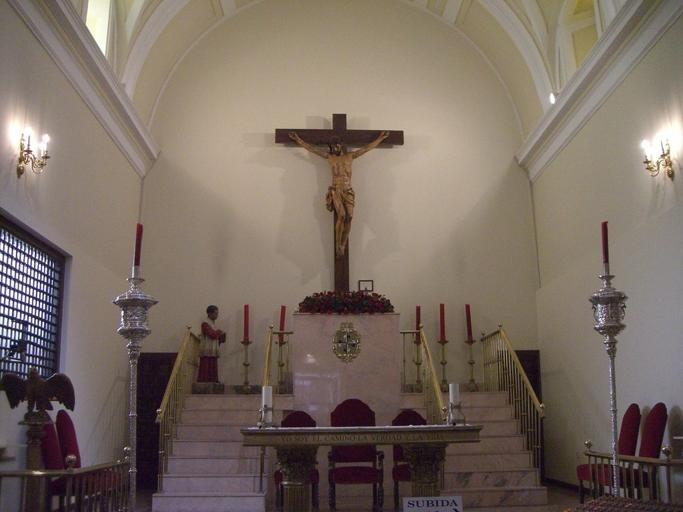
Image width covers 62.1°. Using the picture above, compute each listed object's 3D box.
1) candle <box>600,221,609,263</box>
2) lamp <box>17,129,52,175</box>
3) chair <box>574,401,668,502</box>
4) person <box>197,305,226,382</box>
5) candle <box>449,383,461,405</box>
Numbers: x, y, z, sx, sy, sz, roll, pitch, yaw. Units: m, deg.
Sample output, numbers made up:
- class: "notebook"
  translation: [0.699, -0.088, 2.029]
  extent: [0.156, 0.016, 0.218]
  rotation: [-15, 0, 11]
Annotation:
- class: "candle"
  translation: [2.303, -0.103, 4.964]
  extent: [0.056, 0.405, 0.232]
  rotation: [-7, -15, 25]
- class: "lamp"
  translation: [-3.384, -1.083, 6.218]
  extent: [0.283, 0.624, 0.344]
  rotation: [8, -16, -33]
- class: "chair"
  translation: [3.010, 2.087, 5.973]
  extent: [0.933, 1.030, 1.513]
  rotation: [-5, -15, 17]
- class: "person"
  translation: [-2.110, 1.448, 9.219]
  extent: [0.367, 1.258, 0.586]
  rotation: [-1, -13, 3]
- class: "candle"
  translation: [0.985, 1.210, 4.957]
  extent: [0.075, 0.171, 0.156]
  rotation: [-2, -14, 7]
